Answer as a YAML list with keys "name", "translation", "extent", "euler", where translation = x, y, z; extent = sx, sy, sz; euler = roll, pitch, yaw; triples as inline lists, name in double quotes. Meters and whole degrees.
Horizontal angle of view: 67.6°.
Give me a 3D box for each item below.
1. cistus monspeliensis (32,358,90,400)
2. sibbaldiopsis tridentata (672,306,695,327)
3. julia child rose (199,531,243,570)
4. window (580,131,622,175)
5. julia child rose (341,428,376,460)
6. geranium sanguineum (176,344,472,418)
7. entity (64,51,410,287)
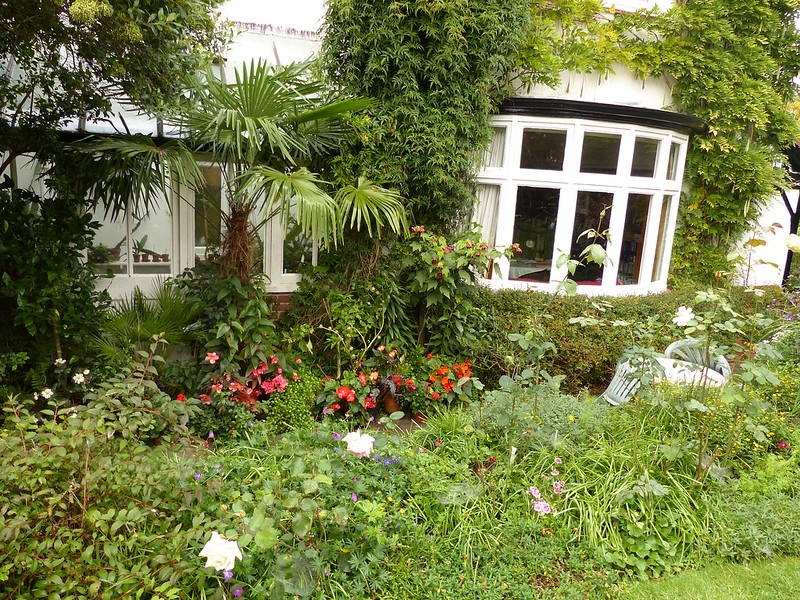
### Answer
- name: "cistus monspeliensis"
  translation: [-2.905, 0.720, 5.224]
  extent: [0.463, 0.401, 0.509]
  euler: [-2, 10, -18]
- name: "sibbaldiopsis tridentata"
  translation: [2.084, 0.129, 4.375]
  extent: [0.118, 0.139, 0.243]
  euler: [5, 6, 23]
- name: "julia child rose"
  translation: [-0.992, 1.413, 3.311]
  extent: [0.195, 0.212, 0.110]
  euler: [4, 6, 13]
- name: "window"
  translation: [2.413, -1.771, 7.233]
  extent: [0.480, 0.489, 0.116]
  euler: [1, 9, -16]
- name: "julia child rose"
  translation: [-0.264, 0.922, 3.886]
  extent: [0.219, 0.190, 0.154]
  euler: [1, -23, -45]
- name: "geranium sanguineum"
  translation: [-0.447, 0.788, 5.590]
  extent: [2.608, 0.668, 0.573]
  euler: [2, 6, -16]
- name: "entity"
  translation: [-1.631, -1.381, 6.015]
  extent: [3.061, 2.379, 2.857]
  euler: [0, 10, -24]
